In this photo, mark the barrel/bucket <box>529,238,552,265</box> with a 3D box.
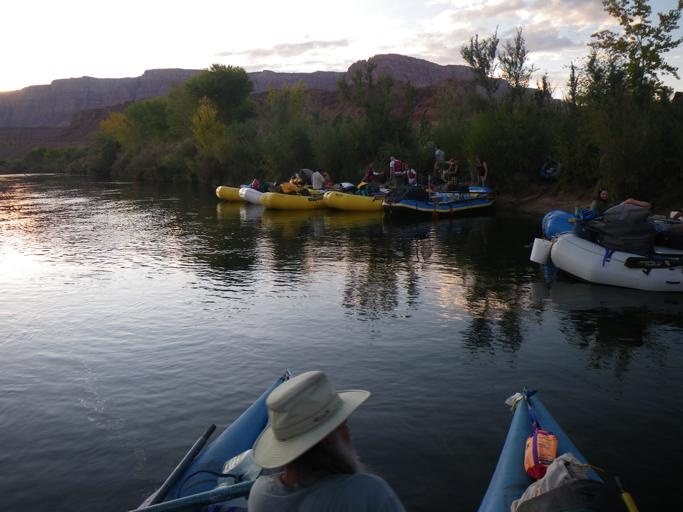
[{"bbox_3d":[5.263,-0.156,16.288,0.633,0.672,0.597,12,10,-2],"label":"barrel/bucket"}]

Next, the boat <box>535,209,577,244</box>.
[{"bbox_3d":[6.426,-1.079,18.043,0.923,0.450,1.276,13,47,33],"label":"boat"}]

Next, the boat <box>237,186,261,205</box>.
[{"bbox_3d":[-5.544,-3.698,37.429,1.367,0.530,1.402,16,-4,45],"label":"boat"}]

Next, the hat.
[{"bbox_3d":[-0.333,1.398,5.210,0.950,0.315,0.835,-36,13,-24],"label":"hat"}]

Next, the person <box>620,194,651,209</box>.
[{"bbox_3d":[7.456,-1.343,15.177,0.598,0.194,1.159,5,13,28],"label":"person"}]

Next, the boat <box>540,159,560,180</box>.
[{"bbox_3d":[11.431,-4.687,32.781,0.697,0.975,1.710,-2,11,-4],"label":"boat"}]
